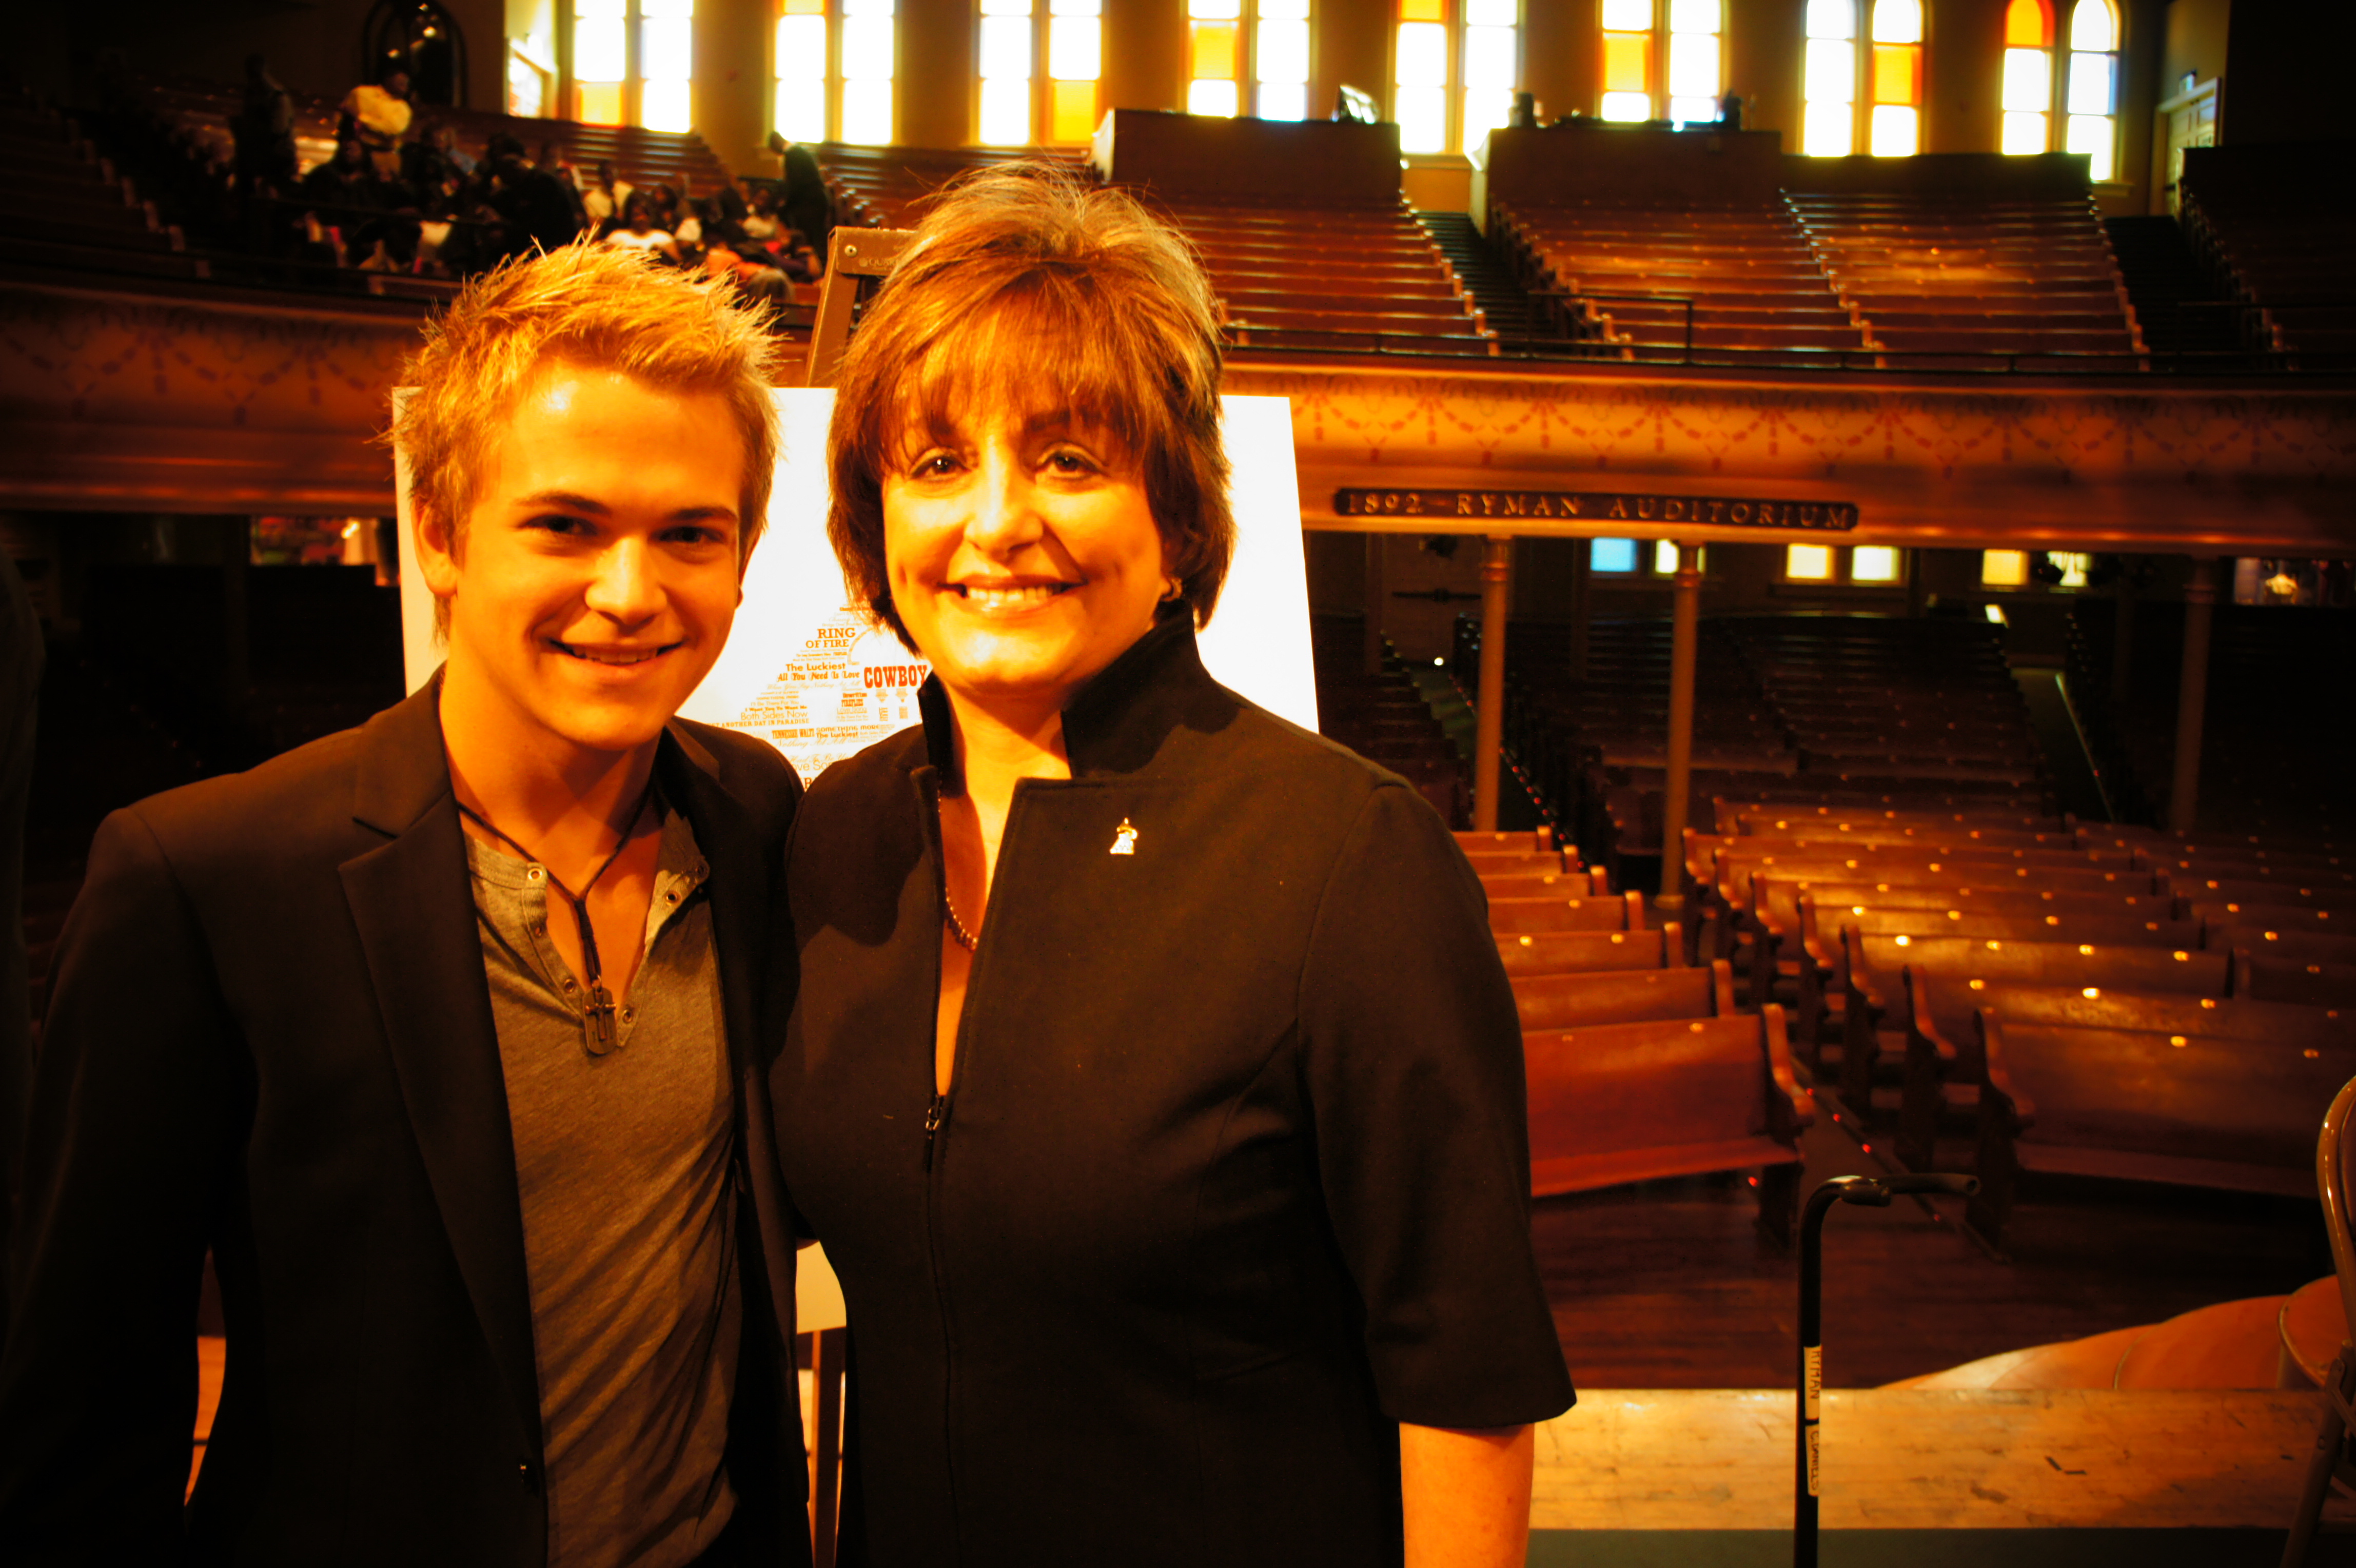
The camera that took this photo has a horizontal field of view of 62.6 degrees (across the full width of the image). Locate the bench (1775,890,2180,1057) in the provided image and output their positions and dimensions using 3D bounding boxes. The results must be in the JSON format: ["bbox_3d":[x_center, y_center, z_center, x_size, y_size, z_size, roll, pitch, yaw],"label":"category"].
[{"bbox_3d":[3.759,0.845,9.079,1.755,0.587,0.509,1,6,0],"label":"bench"}]

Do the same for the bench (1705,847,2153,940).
[{"bbox_3d":[4.077,0.603,10.263,2.058,0.390,0.412,0,14,45],"label":"bench"}]

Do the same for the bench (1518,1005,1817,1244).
[{"bbox_3d":[1.782,1.343,7.770,1.355,0.736,0.534,-2,23,-10],"label":"bench"}]

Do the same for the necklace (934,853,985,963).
[{"bbox_3d":[-0.389,0.216,3.455,0.124,0.161,0.062,-3,13,40],"label":"necklace"}]
